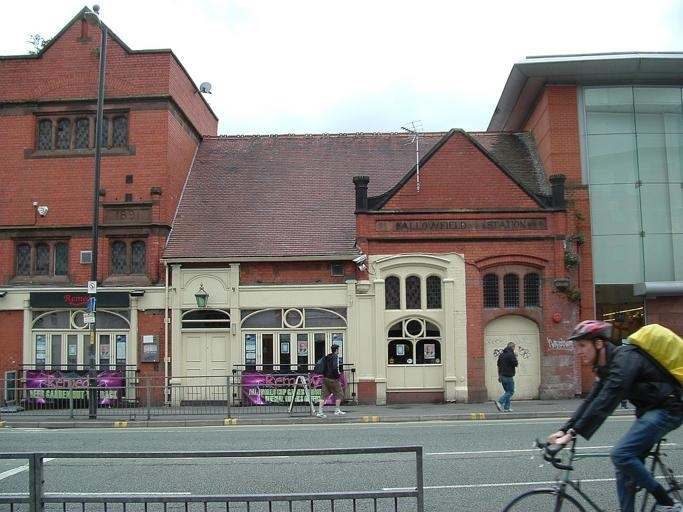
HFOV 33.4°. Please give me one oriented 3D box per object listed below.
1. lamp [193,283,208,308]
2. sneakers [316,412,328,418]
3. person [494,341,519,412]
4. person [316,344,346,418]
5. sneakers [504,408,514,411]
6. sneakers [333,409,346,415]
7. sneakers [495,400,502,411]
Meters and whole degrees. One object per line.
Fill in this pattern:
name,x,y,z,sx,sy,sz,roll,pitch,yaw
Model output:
lamp,-4.778,1.308,39.024,0.434,0.873,0.431,0,-10,-7
sneakers,-0.639,4.894,35.181,0.411,0.137,0.123,0,-1,0
person,5.166,3.777,35.851,0.664,2.175,0.887,-3,-10,5
person,-0.352,3.921,35.923,0.871,2.270,1.516,-2,-10,-1
sneakers,5.209,4.783,35.529,0.298,0.091,0.642,-2,-8,7
sneakers,-0.004,4.859,35.652,0.480,0.162,0.151,1,-2,-26
sneakers,4.947,4.690,35.849,0.179,0.353,0.128,-24,14,-5
